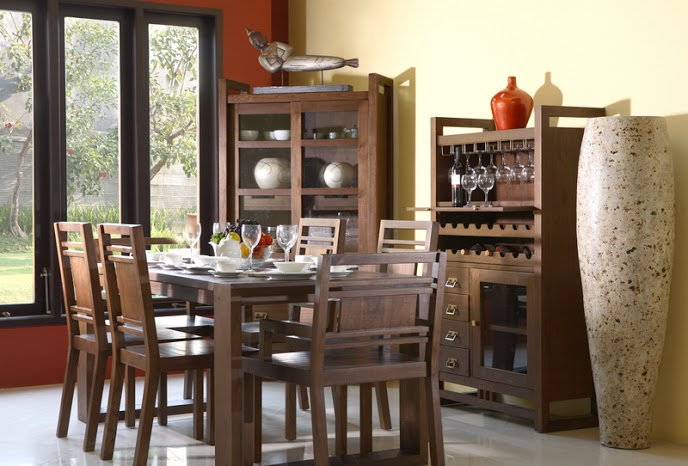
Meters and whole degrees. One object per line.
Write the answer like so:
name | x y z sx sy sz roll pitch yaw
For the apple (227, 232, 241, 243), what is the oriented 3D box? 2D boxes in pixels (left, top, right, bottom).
apple | -0.635 0.027 3.436 0.072 0.059 0.060 21 -49 -34

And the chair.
chair | -0.598 0.575 3.201 2.197 1.299 0.912 3 5 37

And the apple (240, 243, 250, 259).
apple | -0.568 0.103 3.417 0.066 0.057 0.073 -5 -28 -25

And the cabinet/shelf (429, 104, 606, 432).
cabinet/shelf | 1.065 0.199 4.068 0.538 1.982 1.130 -1 1 -28

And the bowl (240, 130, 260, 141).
bowl | -0.792 -0.814 4.994 0.109 0.052 0.108 -1 1 0

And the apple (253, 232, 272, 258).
apple | -0.487 0.078 3.501 0.066 0.160 0.092 -12 49 -37

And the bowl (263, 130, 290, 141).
bowl | -0.551 -0.807 4.964 0.127 0.048 0.126 -1 0 0

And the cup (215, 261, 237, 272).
cup | -0.588 0.163 2.960 0.057 0.052 0.075 1 -3 -38
